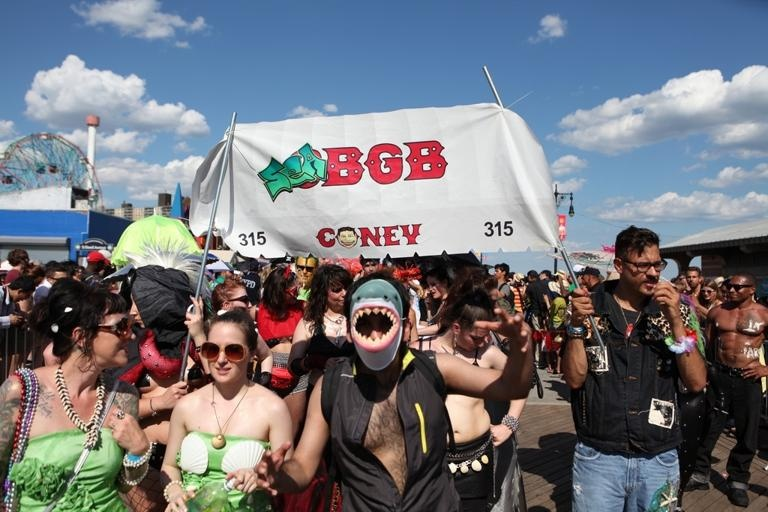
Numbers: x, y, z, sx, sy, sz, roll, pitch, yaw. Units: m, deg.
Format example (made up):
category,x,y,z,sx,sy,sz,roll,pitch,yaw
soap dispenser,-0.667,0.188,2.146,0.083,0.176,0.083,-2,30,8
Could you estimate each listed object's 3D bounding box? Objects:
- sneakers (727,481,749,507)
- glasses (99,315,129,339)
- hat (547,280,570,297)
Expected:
category,x,y,z,sx,sy,sz,roll,pitch,yaw
sneakers,4.257,2.845,6.415,0.133,0.162,0.397,-13,-9,21
glasses,-1.911,0.504,3.800,0.137,0.066,0.144,2,7,-4
hat,4.024,0.748,12.302,0.528,0.171,0.544,6,11,42
